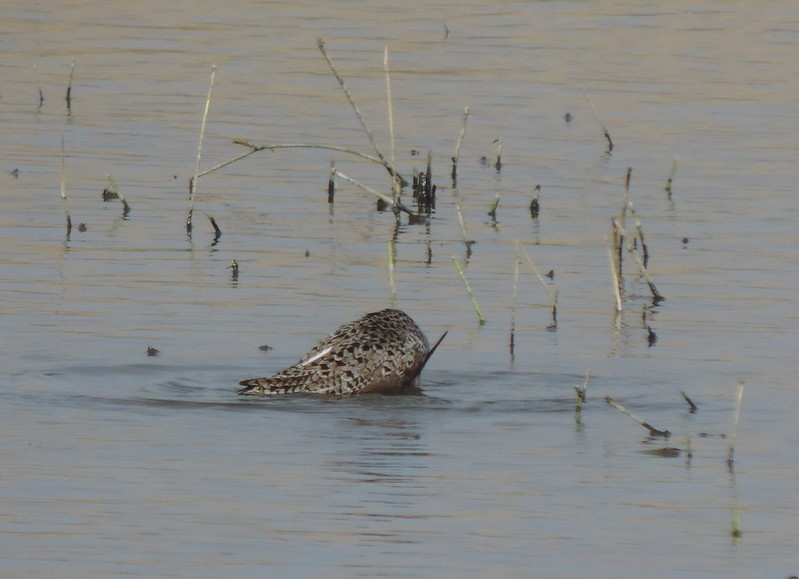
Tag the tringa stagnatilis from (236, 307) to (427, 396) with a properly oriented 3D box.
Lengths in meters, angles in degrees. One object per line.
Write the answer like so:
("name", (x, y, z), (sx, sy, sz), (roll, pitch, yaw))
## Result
("tringa stagnatilis", (-0.462, 0.498, 10.419), (2.006, 0.757, 0.513), (-3, 44, -27))
